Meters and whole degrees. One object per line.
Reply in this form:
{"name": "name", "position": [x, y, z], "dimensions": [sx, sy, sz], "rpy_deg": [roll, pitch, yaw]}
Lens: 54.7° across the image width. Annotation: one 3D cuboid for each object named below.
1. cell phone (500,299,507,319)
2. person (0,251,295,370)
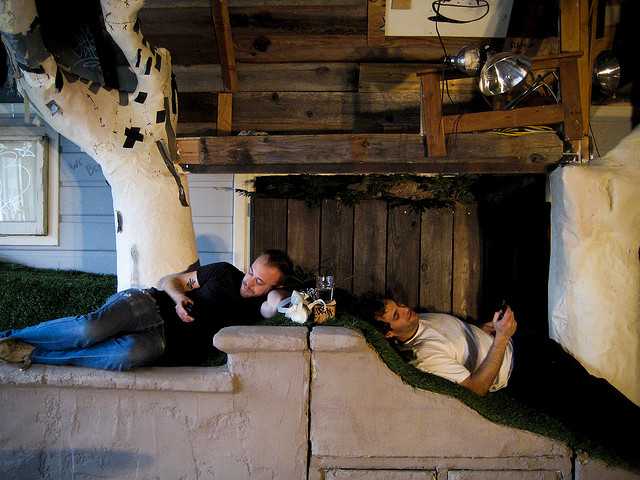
{"name": "cell phone", "position": [1.524, 0.586, 5.167], "dimensions": [0.033, 0.122, 0.027], "rpy_deg": [20, -24, 14]}
{"name": "person", "position": [-1.316, 0.528, 4.970], "dimensions": [2.207, 0.781, 0.685], "rpy_deg": [-3, 10, -24]}
